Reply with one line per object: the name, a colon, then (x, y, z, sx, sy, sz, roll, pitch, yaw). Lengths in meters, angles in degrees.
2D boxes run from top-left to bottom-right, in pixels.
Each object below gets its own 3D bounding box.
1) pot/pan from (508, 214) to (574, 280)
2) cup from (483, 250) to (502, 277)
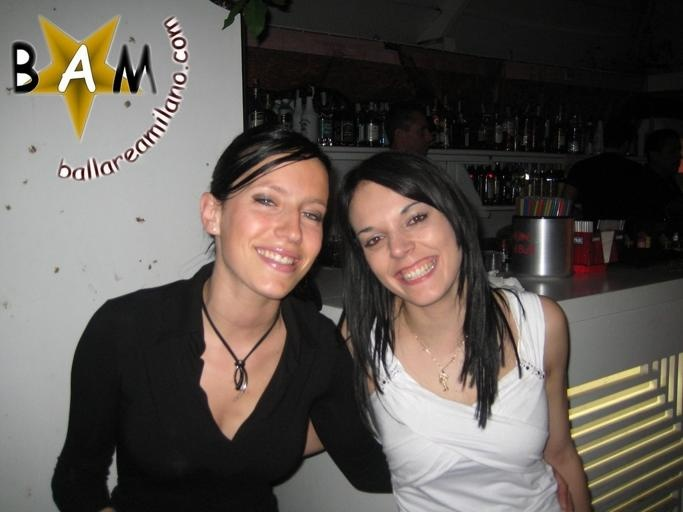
pot/pan: (0.874, -0.043, 2.733, 0.279, 0.314, 0.279, -1, 2, -17)
cup: (0.701, 0.033, 2.696, 0.099, 0.117, 0.108, 0, 4, 0)
